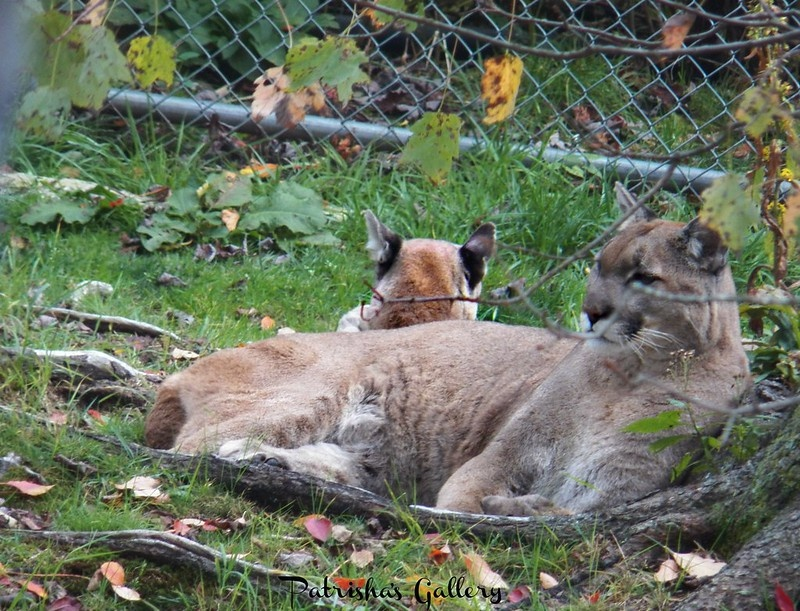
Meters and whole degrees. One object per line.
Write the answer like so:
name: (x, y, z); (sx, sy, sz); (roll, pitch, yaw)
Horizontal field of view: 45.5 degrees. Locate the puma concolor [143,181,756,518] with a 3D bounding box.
puma concolor: (0.024, 0.390, 4.585); (2.717, 1.275, 1.566); (-2, -4, 43)
